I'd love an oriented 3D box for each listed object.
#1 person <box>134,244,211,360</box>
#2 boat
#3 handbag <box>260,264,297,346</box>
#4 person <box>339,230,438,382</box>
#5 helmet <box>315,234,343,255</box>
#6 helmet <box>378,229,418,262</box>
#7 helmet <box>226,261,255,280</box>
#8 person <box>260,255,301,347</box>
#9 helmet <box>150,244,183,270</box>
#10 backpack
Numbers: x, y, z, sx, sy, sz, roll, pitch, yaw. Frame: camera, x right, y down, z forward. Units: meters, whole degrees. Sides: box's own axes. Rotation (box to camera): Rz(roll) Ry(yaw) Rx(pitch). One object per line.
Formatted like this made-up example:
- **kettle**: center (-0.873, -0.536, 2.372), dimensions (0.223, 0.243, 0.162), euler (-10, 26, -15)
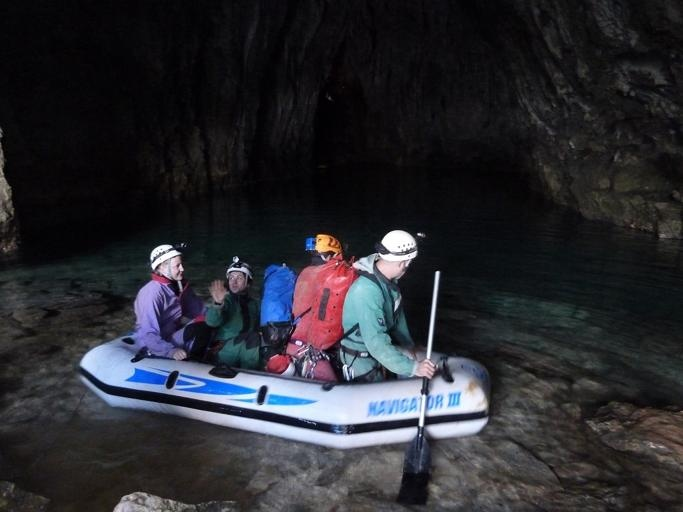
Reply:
- **person**: center (-2.093, 0.599, 6.419), dimensions (0.790, 1.284, 1.068), euler (0, 23, -3)
- **boat**: center (-0.661, 1.424, 5.183), dimensions (2.843, 0.535, 1.530), euler (3, 5, 22)
- **handbag**: center (-0.697, 0.524, 5.620), dimensions (0.426, 0.851, 0.279), euler (3, -2, -3)
- **person**: center (0.580, 0.613, 5.888), dimensions (0.865, 1.865, 0.816), euler (-2, 50, 4)
- **helmet**: center (-0.131, -0.111, 5.287), dimensions (0.235, 0.182, 0.182), euler (10, 3, 9)
- **helmet**: center (0.524, -0.108, 4.924), dimensions (0.312, 0.206, 0.291), euler (-10, 23, -20)
- **helmet**: center (-1.112, 0.140, 5.689), dimensions (0.202, 0.283, 0.215), euler (-4, 54, 9)
- **person**: center (-0.669, 0.556, 5.738), dimensions (0.431, 0.866, 0.290), euler (2, -6, 17)
- **helmet**: center (-1.953, -0.009, 5.635), dimensions (0.332, 0.189, 0.248), euler (-17, 7, 16)
- **backpack**: center (0.014, 0.498, 5.270), dimensions (0.264, 0.887, 0.692), euler (13, 5, -38)
